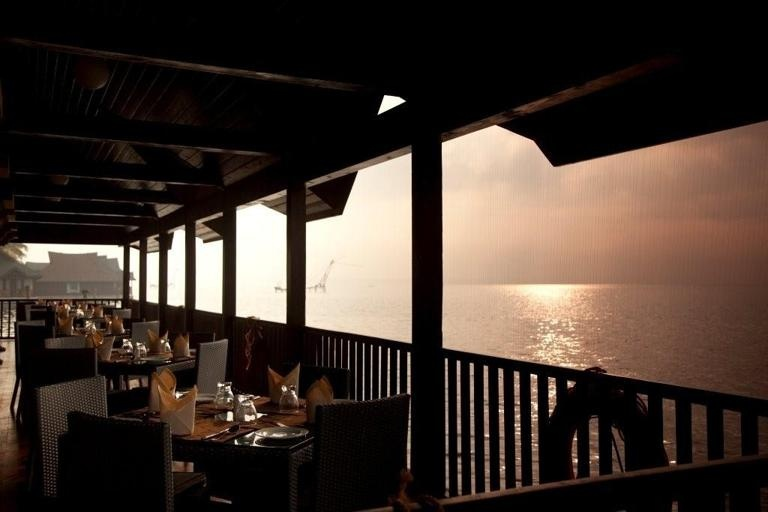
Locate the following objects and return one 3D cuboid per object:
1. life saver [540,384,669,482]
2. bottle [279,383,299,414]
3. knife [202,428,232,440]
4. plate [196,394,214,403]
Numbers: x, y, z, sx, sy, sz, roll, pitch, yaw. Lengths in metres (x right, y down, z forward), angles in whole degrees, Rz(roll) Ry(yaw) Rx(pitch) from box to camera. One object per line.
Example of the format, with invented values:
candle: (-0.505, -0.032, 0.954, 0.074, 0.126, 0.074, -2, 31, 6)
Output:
life saver: (1.502, 1.201, 4.316, 0.749, 0.733, 0.199, 1, -3, 31)
bottle: (-0.711, 1.098, 4.714, 0.167, 0.221, 0.164, -1, -3, 0)
knife: (-1.156, 1.226, 4.269, 0.050, 0.048, 0.188, 5, 10, 40)
plate: (-1.414, 1.125, 4.923, 0.132, 0.020, 0.168, 2, 1, -16)
